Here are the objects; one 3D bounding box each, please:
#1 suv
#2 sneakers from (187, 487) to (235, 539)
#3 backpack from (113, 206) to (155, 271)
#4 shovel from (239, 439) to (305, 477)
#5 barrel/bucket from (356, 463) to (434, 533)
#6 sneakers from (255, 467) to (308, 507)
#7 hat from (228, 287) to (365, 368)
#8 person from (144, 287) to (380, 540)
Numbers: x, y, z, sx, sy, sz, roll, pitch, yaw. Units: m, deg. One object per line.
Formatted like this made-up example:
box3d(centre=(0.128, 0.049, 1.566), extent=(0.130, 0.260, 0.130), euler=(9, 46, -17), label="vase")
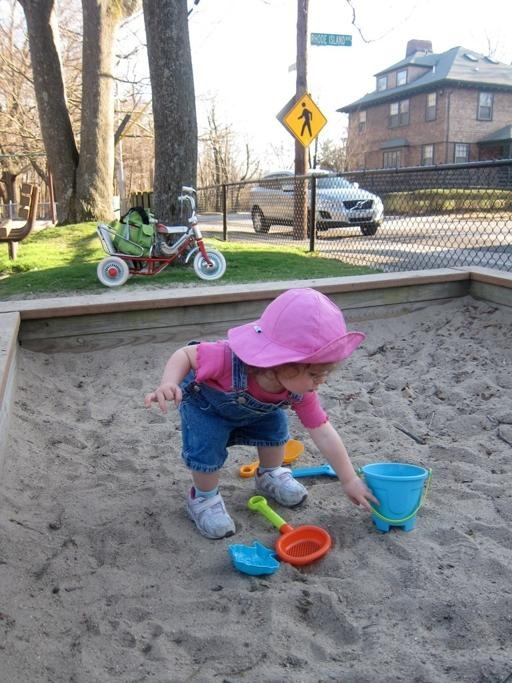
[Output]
box3d(centre=(1.041, -2.374, 10.232), extent=(2.288, 1.062, 4.399), euler=(0, 12, 0), label="suv")
box3d(centre=(-0.158, 0.606, 2.078), extent=(0.086, 0.093, 0.213), euler=(-2, 8, -31), label="sneakers")
box3d(centre=(-1.248, -1.076, 5.811), extent=(0.507, 0.509, 0.401), euler=(8, 5, 9), label="backpack")
box3d(centre=(0.087, 0.521, 2.643), extent=(0.121, 0.060, 0.372), euler=(16, 16, 25), label="shovel")
box3d(centre=(0.482, 0.527, 2.087), extent=(0.237, 0.211, 0.285), euler=(7, 15, 27), label="barrel/bucket")
box3d(centre=(0.092, 0.569, 2.324), extent=(0.212, 0.100, 0.108), euler=(11, 15, 37), label="sneakers")
box3d(centre=(0.088, -0.031, 1.836), extent=(0.365, 0.254, 0.445), euler=(8, 17, -21), label="hat")
box3d(centre=(0.013, 0.217, 1.932), extent=(0.845, 0.857, 0.363), euler=(-1, 3, -13), label="person")
